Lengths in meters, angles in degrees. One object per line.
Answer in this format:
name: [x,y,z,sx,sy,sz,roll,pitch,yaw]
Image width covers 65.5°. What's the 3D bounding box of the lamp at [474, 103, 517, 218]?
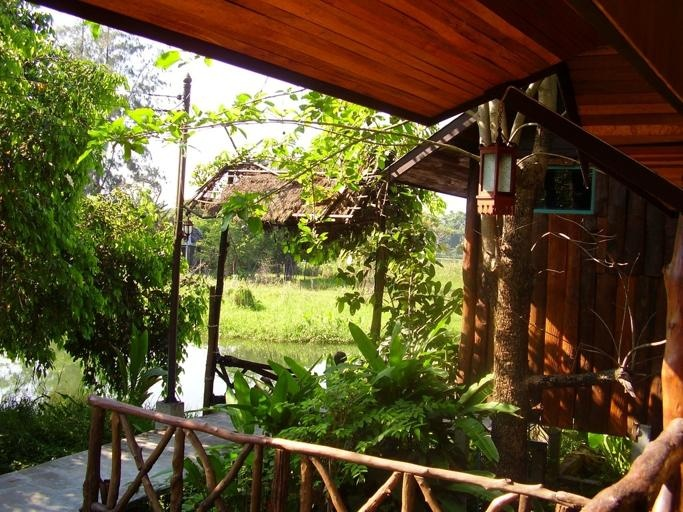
lamp: [0.954,-0.538,3.216,0.227,0.550,0.295,2,-5,11]
